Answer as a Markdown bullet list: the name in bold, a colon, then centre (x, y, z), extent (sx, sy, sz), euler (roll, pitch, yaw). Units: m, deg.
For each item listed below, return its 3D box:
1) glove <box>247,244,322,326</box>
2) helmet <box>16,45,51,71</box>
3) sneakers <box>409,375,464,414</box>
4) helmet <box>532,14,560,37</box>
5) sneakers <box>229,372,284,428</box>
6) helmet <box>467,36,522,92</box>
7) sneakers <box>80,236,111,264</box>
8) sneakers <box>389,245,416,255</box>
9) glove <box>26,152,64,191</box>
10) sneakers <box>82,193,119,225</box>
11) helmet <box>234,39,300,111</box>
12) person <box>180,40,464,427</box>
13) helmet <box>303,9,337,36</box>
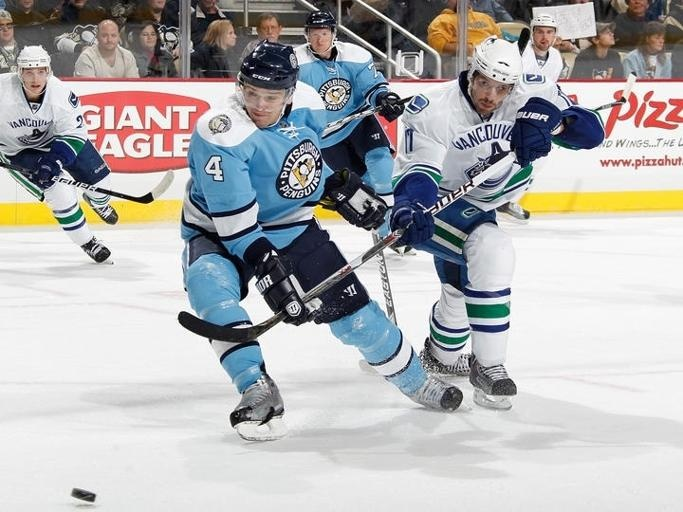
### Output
- **glove**: centre (-0.216, 0.091, 2.938), extent (0.187, 0.321, 0.136), euler (-38, 5, 12)
- **helmet**: centre (-1.960, -1.255, 5.326), extent (0.186, 0.170, 0.208), euler (-4, 3, -16)
- **sneakers**: centre (0.382, 0.525, 3.235), extent (0.176, 0.107, 0.293), euler (0, -2, -26)
- **helmet**: centre (1.498, -1.745, 6.256), extent (0.184, 0.181, 0.212), euler (2, 3, 1)
- **sneakers**: centre (-0.313, 0.494, 2.875), extent (0.139, 0.156, 0.264), euler (-7, 1, 29)
- **helmet**: centre (0.596, -0.756, 3.247), extent (0.202, 0.188, 0.207), euler (2, 19, 8)
- **sneakers**: centre (-1.586, -0.043, 5.496), extent (0.279, 0.096, 0.113), euler (33, -6, 30)
- **sneakers**: centre (0.440, -0.036, 5.748), extent (0.125, 0.047, 0.143), euler (1, -3, -1)
- **glove**: centre (-1.851, -0.545, 5.316), extent (0.208, 0.219, 0.167), euler (-10, 21, -24)
- **sneakers**: centre (-1.757, -0.348, 6.133), extent (0.146, 0.327, 0.108), euler (12, 60, 48)
- **helmet**: centre (-0.258, -0.647, 2.969), extent (0.222, 0.236, 0.231), euler (11, 32, -8)
- **person**: centre (-0.130, -0.077, 3.050), extent (0.890, 1.371, 0.513), euler (-5, 21, -9)
- **helmet**: centre (-0.115, -1.397, 4.968), extent (0.141, 0.124, 0.169), euler (-3, 7, -2)
